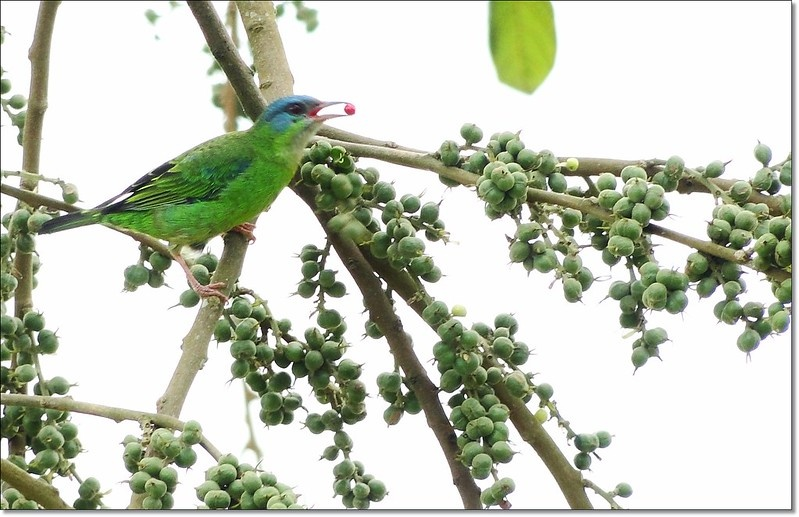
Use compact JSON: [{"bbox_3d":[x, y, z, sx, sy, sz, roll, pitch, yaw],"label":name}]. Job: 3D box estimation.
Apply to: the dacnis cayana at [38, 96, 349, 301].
[{"bbox_3d":[-0.930,-0.330,5.909,1.618,0.561,0.711,-2,-83,16],"label":"dacnis cayana"}]
